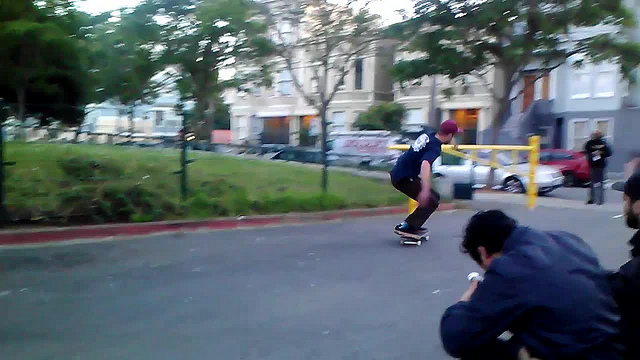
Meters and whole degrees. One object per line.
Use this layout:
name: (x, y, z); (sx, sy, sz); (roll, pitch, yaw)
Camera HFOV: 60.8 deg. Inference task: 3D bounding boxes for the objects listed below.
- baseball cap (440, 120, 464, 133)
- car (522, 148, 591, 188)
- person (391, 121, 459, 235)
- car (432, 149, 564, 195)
baseball cap: (2.887, -1.165, 12.000); (0.480, 0.223, 0.297); (-5, 17, -27)
car: (10.241, -0.638, 24.908); (3.536, 1.100, 1.608); (5, 5, 30)
person: (2.237, -0.052, 12.077); (0.920, 1.866, 1.003); (2, 2, -40)
car: (6.266, -0.295, 19.938); (5.287, 1.619, 2.488); (0, 2, 29)
